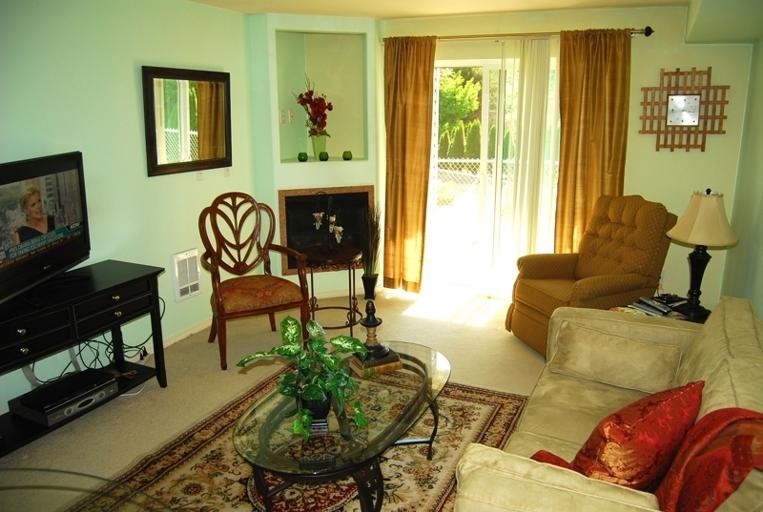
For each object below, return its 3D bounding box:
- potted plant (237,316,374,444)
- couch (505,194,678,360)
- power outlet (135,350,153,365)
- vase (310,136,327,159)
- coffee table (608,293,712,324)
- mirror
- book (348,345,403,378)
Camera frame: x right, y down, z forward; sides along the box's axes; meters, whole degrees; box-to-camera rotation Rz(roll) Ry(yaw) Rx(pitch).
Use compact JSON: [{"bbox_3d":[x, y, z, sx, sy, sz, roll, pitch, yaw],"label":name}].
[{"bbox_3d":[-0.441,0.674,3.238,0.730,0.465,0.742,9,14,38],"label":"potted plant"},{"bbox_3d":[1.832,0.160,4.971,1.224,1.384,1.225,0,15,3],"label":"couch"},{"bbox_3d":[-2.036,0.870,4.779,0.061,0.075,0.208,-2,8,-9],"label":"power outlet"},{"bbox_3d":[-0.664,-1.157,5.916,0.141,0.249,0.103,-1,16,-1],"label":"vase"},{"bbox_3d":[2.200,0.391,4.190,0.327,0.084,0.340,-10,16,-26],"label":"coffee table"},{"bbox_3d":[-1.786,-1.233,5.024,0.079,1.050,1.054,8,13,33],"label":"mirror"},{"bbox_3d":[-0.023,0.702,3.693,0.238,0.057,0.227,-8,15,-30],"label":"book"}]
